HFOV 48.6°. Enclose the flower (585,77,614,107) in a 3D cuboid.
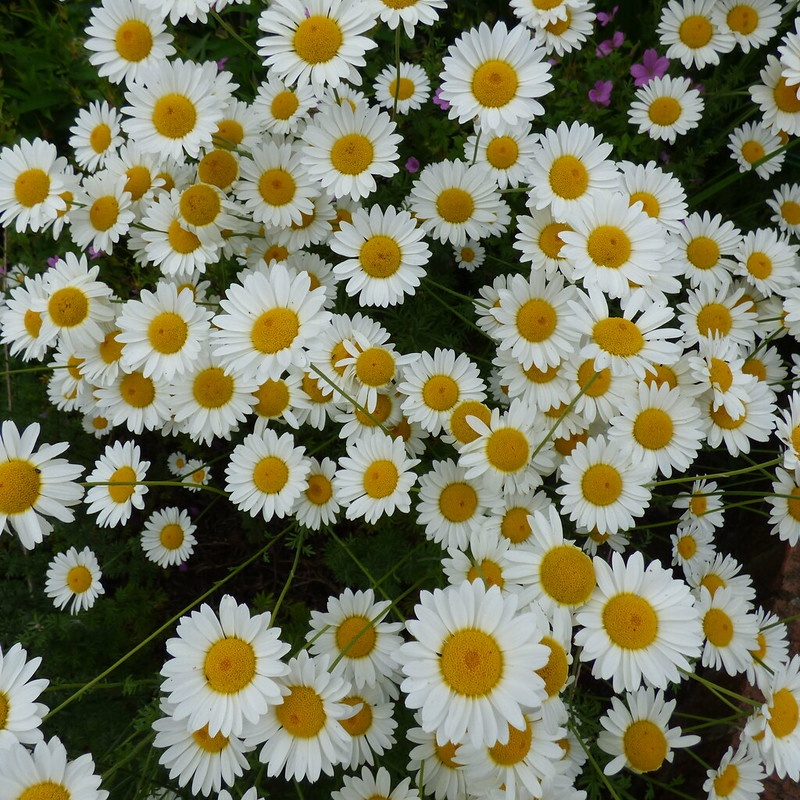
[{"bbox_3d":[1.253,-1.952,5.592,0.151,0.044,0.176,11,-57,29],"label":"flower"}]
